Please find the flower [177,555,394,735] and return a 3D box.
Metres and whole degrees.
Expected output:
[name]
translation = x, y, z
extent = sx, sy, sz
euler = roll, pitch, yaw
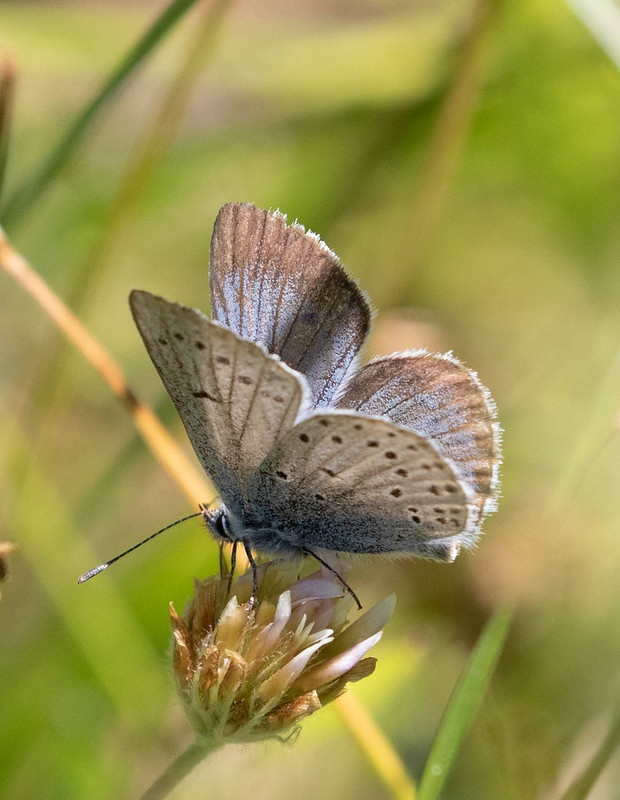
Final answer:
[flower]
translation = -0.077, 0.460, 1.651
extent = 0.401, 0.190, 0.322
euler = 17, 58, -1
